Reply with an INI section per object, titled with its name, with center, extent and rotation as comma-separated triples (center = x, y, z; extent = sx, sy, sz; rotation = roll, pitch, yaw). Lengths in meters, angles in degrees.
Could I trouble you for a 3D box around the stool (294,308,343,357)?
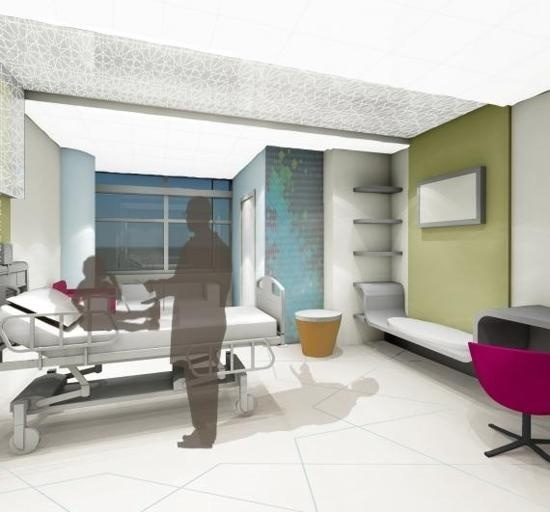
[stool]
center = 0.499, 0.878, 4.803
extent = 0.538, 0.416, 0.556
rotation = 2, -5, -14
